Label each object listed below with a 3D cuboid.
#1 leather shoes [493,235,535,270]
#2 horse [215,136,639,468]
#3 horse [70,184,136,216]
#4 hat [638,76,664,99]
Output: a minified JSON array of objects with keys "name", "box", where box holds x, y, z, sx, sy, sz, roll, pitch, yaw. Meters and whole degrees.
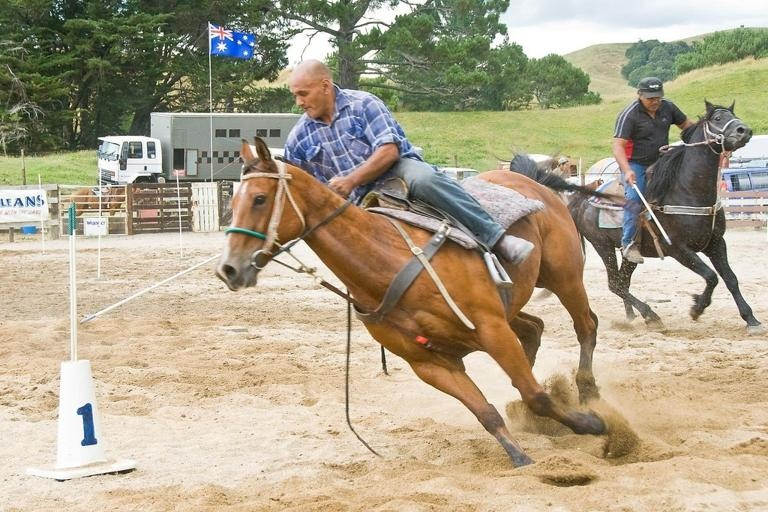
[{"name":"leather shoes","box":[1.254,-0.061,7.926,0.179,0.190,0.418,43,10,28]},{"name":"horse","box":[0.376,0.392,7.884,3.916,3.085,1.818,-4,10,-19]},{"name":"horse","box":[-9.348,-1.870,27.360,1.597,0.996,2.409,-4,9,-16]},{"name":"hat","box":[3.587,-2.320,11.239,0.311,0.185,0.360,-2,12,-2]}]
